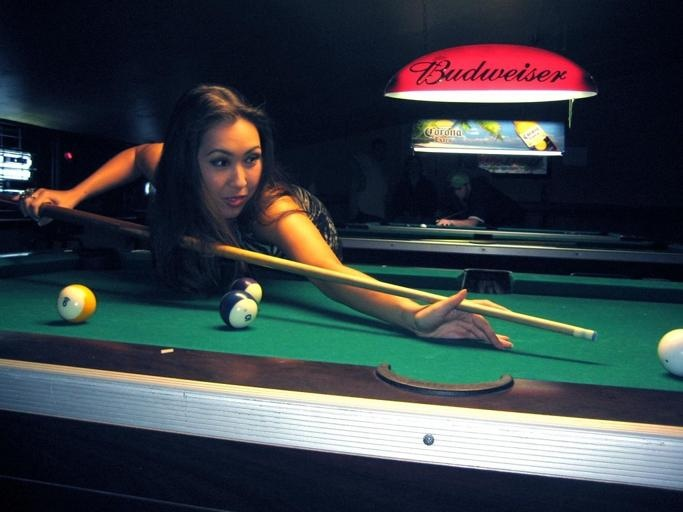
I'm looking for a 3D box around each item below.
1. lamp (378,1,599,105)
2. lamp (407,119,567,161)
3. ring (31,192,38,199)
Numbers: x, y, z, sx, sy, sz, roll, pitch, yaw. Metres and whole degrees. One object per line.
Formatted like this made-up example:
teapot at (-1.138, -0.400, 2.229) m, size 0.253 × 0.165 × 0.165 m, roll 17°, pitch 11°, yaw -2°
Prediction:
lamp at (0.939, -1.169, 3.785) m, size 1.292 × 0.315 × 0.439 m, roll 4°, pitch 10°, yaw 16°
lamp at (2.086, -1.389, 8.118) m, size 3.758 × 0.631 × 0.531 m, roll 0°, pitch 2°, yaw 2°
ring at (-1.652, -0.326, 3.188) m, size 0.040 × 0.015 × 0.044 m, roll 9°, pitch 31°, yaw -6°
